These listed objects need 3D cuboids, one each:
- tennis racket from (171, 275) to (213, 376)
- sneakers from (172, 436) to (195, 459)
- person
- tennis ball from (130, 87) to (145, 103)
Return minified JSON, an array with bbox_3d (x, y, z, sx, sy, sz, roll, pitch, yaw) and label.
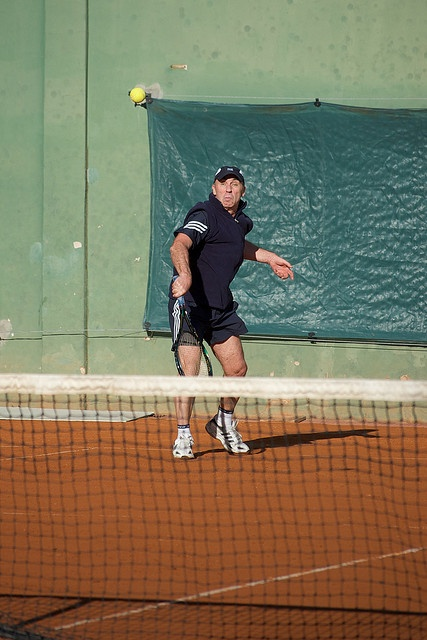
[{"bbox_3d":[-0.136,0.016,5.351,0.066,0.240,0.760,-35,31,10],"label":"tennis racket"},{"bbox_3d":[-0.187,0.785,5.395,0.125,0.165,0.165,-1,12,-3],"label":"sneakers"},{"bbox_3d":[0.021,0.041,5.380,0.696,1.885,1.240,3,13,12],"label":"person"},{"bbox_3d":[-0.669,-1.953,7.749,0.177,0.133,0.098,7,14,28],"label":"tennis ball"}]
